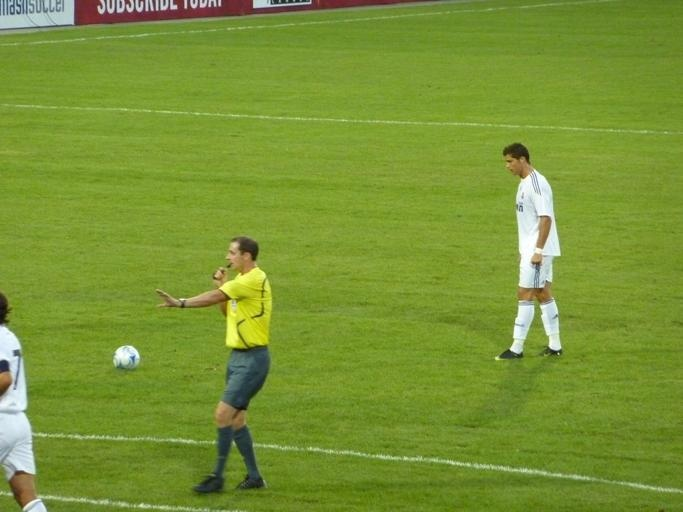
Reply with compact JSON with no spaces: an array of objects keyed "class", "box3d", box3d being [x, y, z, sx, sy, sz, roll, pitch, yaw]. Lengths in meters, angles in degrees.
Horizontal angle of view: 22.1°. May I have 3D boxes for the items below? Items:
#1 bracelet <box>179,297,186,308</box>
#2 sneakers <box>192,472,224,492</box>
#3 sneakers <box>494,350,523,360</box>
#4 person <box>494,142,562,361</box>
[{"class":"bracelet","box3d":[-2.574,0.718,28.510,0.134,0.140,0.154,0,-3,-1]},{"class":"sneakers","box3d":[-2.134,3.717,28.640,0.653,0.232,0.201,0,9,-12]},{"class":"sneakers","box3d":[3.031,1.763,31.845,0.539,0.172,0.184,0,2,-3]},{"class":"person","box3d":[3.444,-0.145,31.602,0.957,3.938,0.640,-2,10,5]}]
